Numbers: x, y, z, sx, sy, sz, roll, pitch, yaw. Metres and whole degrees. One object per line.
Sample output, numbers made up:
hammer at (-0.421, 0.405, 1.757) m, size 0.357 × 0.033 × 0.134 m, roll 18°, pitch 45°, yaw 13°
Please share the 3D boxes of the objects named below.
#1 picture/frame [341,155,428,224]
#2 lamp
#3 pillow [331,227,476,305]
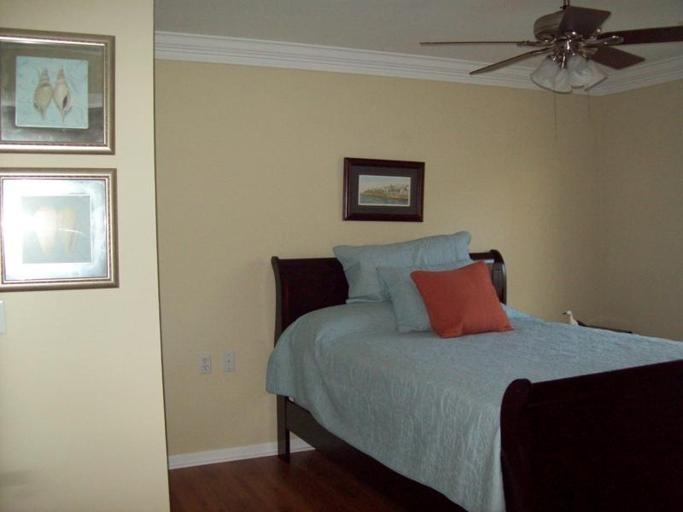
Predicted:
picture/frame at (0.278, -0.468, 3.930) m, size 0.471 × 0.370 × 0.039 m, roll 1°, pitch -1°, yaw -18°
lamp at (1.197, -1.024, 2.887) m, size 0.334 × 0.227 × 0.338 m, roll -3°, pitch 29°, yaw 31°
pillow at (0.386, 0.016, 3.605) m, size 0.921 × 0.381 × 0.396 m, roll -8°, pitch 31°, yaw -13°
